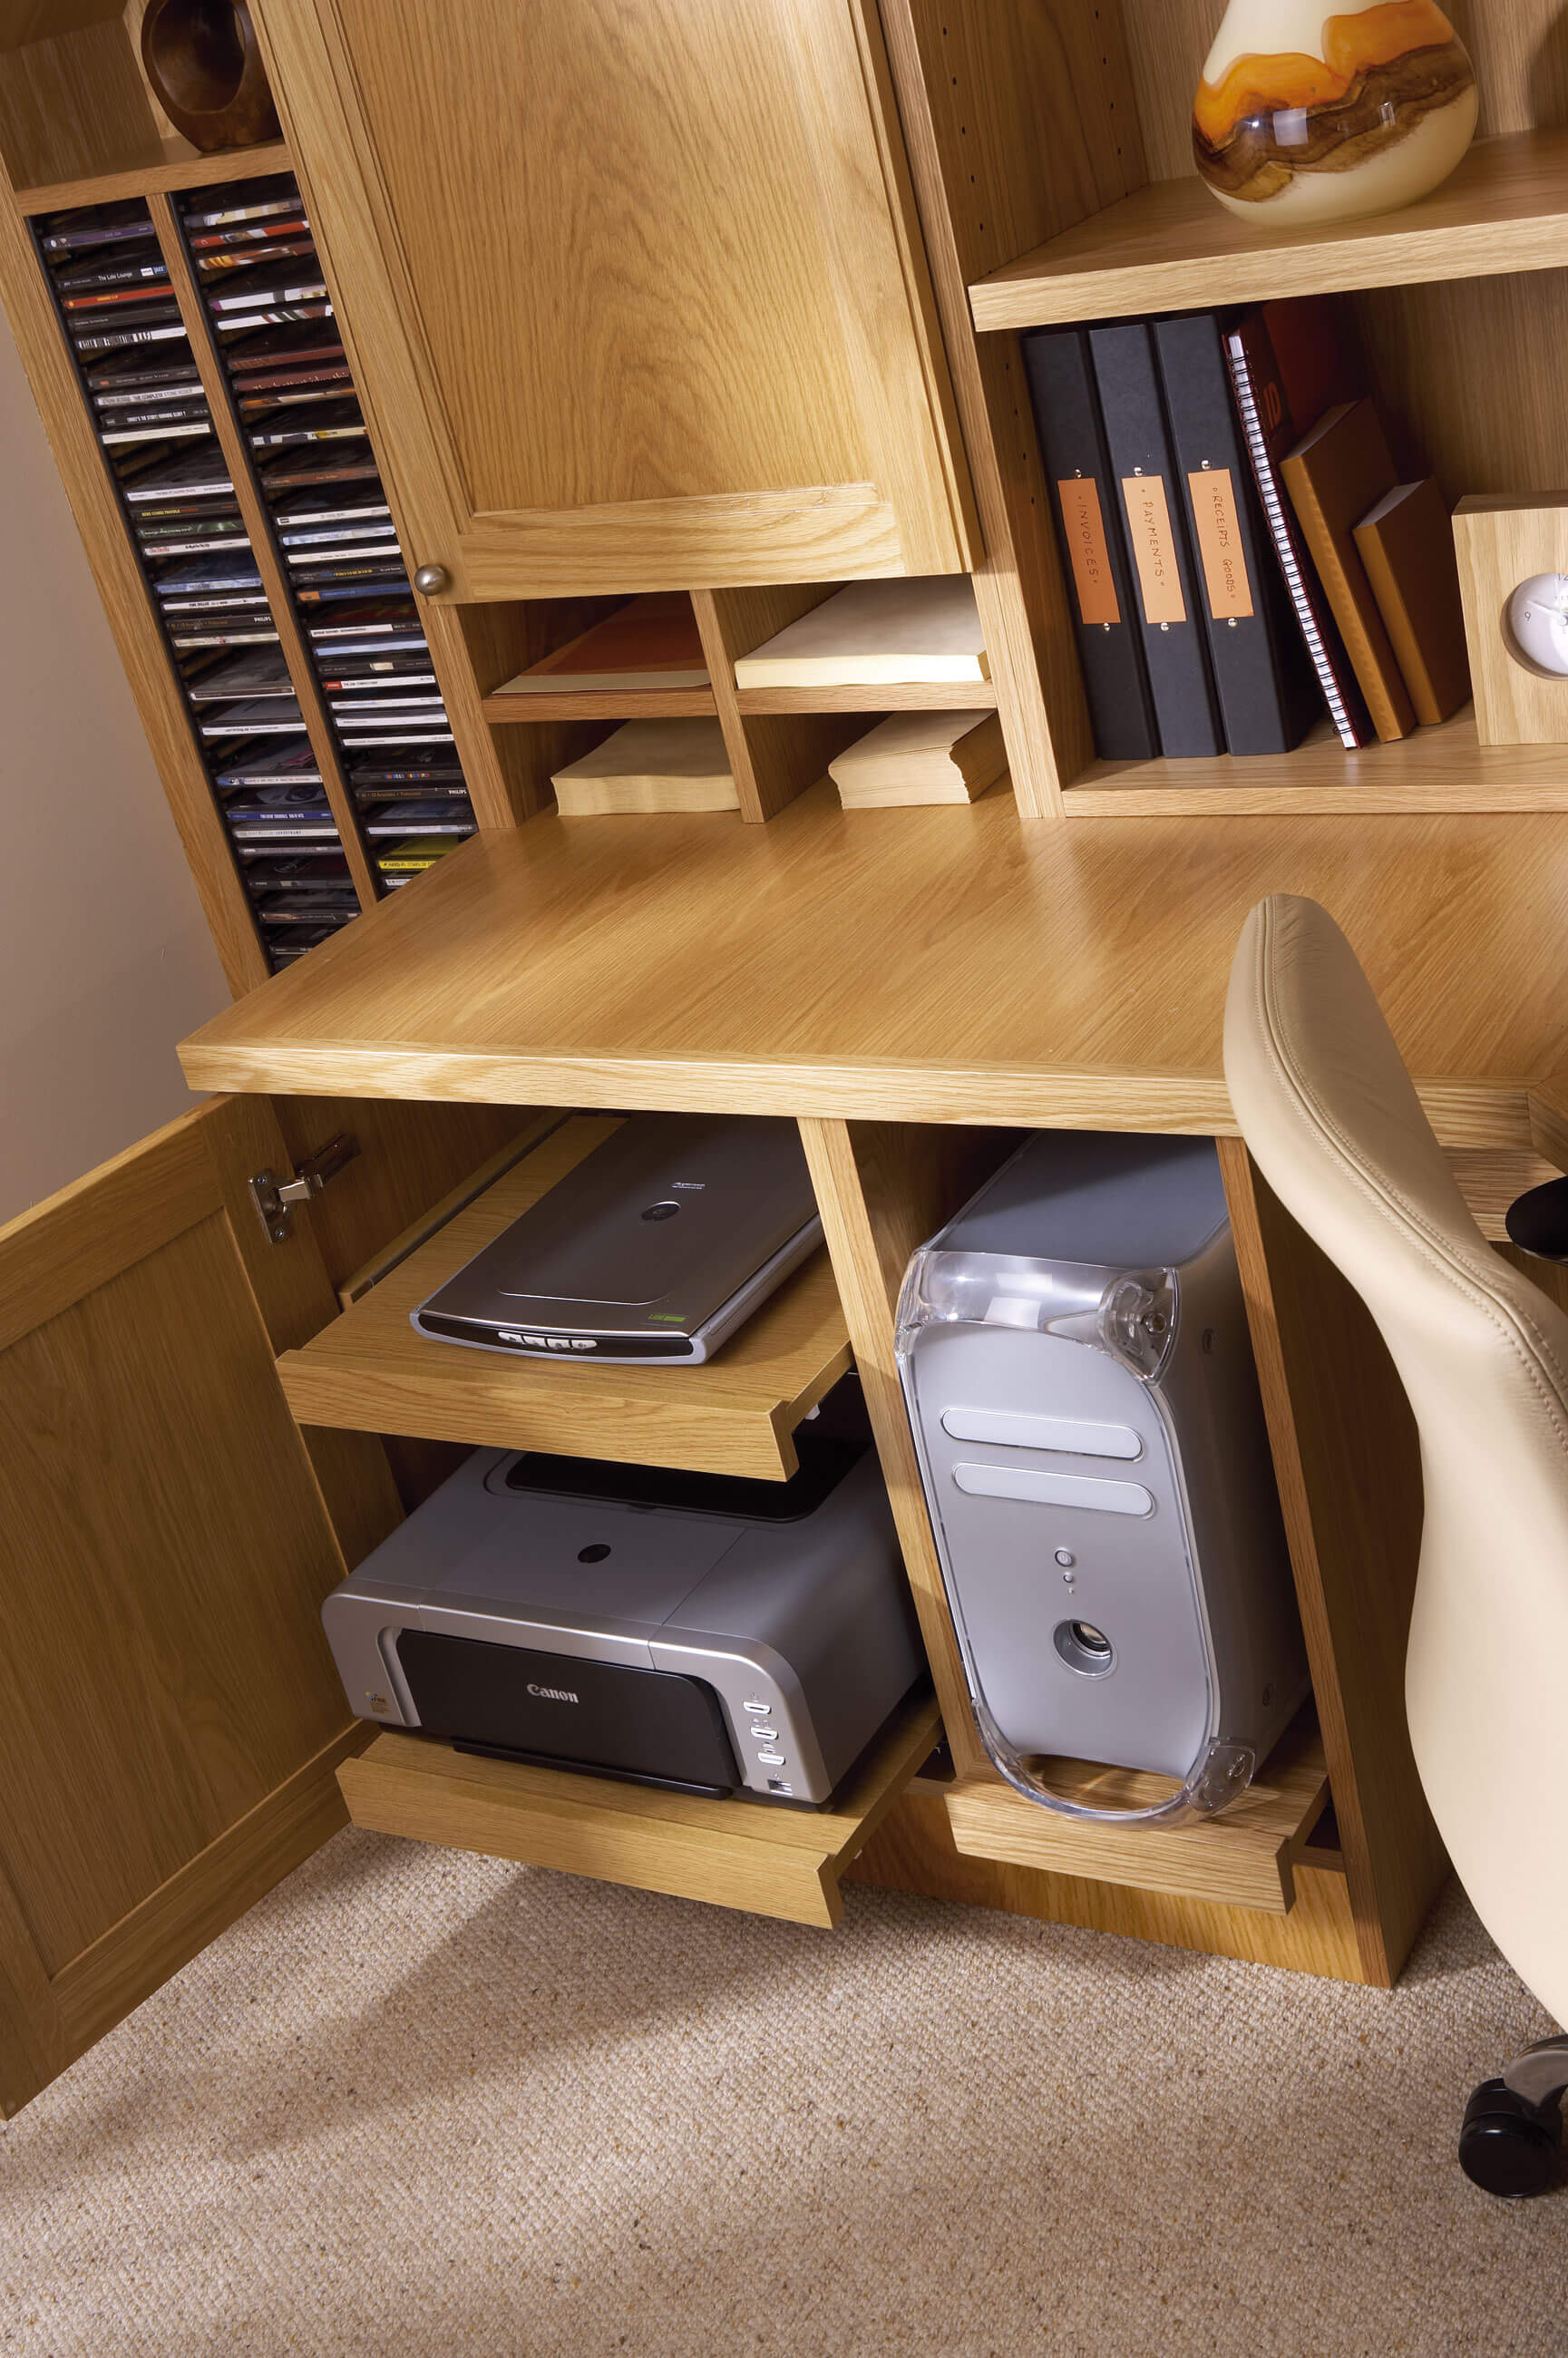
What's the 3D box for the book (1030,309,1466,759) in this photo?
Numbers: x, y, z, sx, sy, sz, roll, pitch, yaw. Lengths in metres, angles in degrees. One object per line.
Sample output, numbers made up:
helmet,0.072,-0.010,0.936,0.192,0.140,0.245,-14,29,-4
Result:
book,0.391,-0.506,1.417,0.304,0.423,0.429,-3,33,22
